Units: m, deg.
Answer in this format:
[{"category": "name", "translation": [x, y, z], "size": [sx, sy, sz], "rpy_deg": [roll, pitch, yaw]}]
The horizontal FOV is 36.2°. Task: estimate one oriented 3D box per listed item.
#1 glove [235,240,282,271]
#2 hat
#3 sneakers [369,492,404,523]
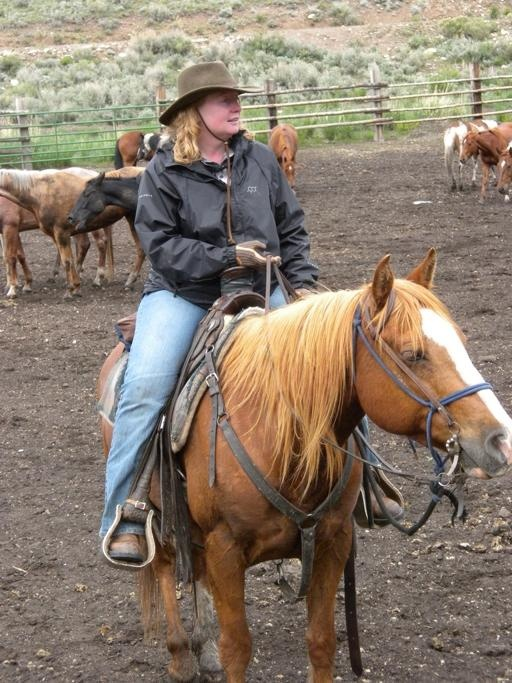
[{"category": "glove", "translation": [0.002, -0.322, 2.841], "size": [0.157, 0.070, 0.088], "rpy_deg": [14, 36, 10]}, {"category": "hat", "translation": [-0.196, -1.009, 3.080], "size": [0.435, 0.158, 0.324], "rpy_deg": [-8, 18, 32]}, {"category": "sneakers", "translation": [0.518, 0.654, 3.092], "size": [0.090, 0.097, 0.250], "rpy_deg": [-10, -18, 9]}]
